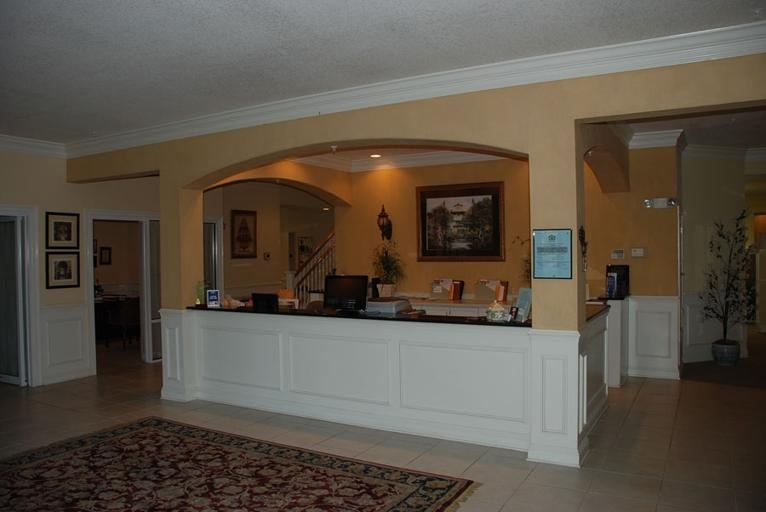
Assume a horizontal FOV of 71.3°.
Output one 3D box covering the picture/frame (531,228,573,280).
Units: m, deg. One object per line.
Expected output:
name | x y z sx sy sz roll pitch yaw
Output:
picture/frame | 1.833 -0.040 5.734 0.524 0.670 0.046 2 6 30

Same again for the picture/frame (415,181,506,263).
picture/frame | 1.488 -0.664 9.804 1.496 1.264 0.129 1 5 23

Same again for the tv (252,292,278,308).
tv | -1.586 0.534 7.253 0.364 0.262 0.189 1 1 16

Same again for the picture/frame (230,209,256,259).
picture/frame | -3.240 -0.512 12.405 0.092 1.124 0.836 0 1 34

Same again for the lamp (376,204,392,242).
lamp | 0.016 -0.664 10.341 0.285 0.684 0.278 1 7 19

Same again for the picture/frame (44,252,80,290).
picture/frame | -5.247 0.215 8.672 0.054 0.693 0.604 1 2 38

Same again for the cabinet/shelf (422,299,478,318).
cabinet/shelf | 1.207 0.904 9.531 1.234 0.203 0.493 1 6 17

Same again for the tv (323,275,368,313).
tv | -0.502 0.504 7.212 0.450 0.333 0.048 0 -10 23

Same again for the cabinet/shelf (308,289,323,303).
cabinet/shelf | -1.360 0.780 10.815 0.295 0.286 0.161 2 3 30

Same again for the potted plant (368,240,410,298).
potted plant | 0.064 0.192 10.250 0.701 1.001 0.592 0 6 10

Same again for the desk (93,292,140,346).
desk | -5.214 1.276 10.827 0.633 0.858 0.575 -2 -4 21

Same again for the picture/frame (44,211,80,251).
picture/frame | -5.224 -0.426 8.702 0.023 0.592 0.516 4 3 32

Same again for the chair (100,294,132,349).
chair | -5.341 1.315 10.833 0.599 0.869 0.597 -2 -5 16

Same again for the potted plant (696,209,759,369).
potted plant | 6.056 0.479 9.395 1.024 2.616 0.570 -6 8 -41
